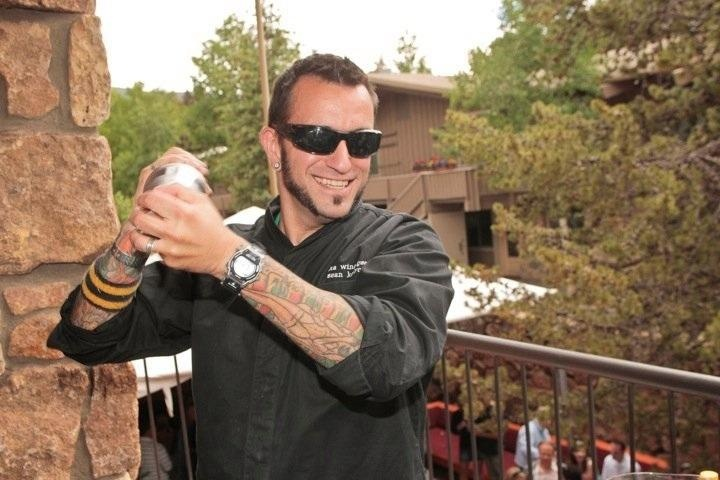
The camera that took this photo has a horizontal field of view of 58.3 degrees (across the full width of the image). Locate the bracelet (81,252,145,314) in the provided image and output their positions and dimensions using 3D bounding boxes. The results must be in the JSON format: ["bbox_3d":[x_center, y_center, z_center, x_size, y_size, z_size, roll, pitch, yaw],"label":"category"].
[{"bbox_3d":[-1.135,0.224,2.990,0.254,0.175,0.249,-18,59,-43],"label":"bracelet"}]

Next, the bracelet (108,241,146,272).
[{"bbox_3d":[-1.014,0.079,2.809,0.130,0.050,0.133,23,4,38],"label":"bracelet"}]
